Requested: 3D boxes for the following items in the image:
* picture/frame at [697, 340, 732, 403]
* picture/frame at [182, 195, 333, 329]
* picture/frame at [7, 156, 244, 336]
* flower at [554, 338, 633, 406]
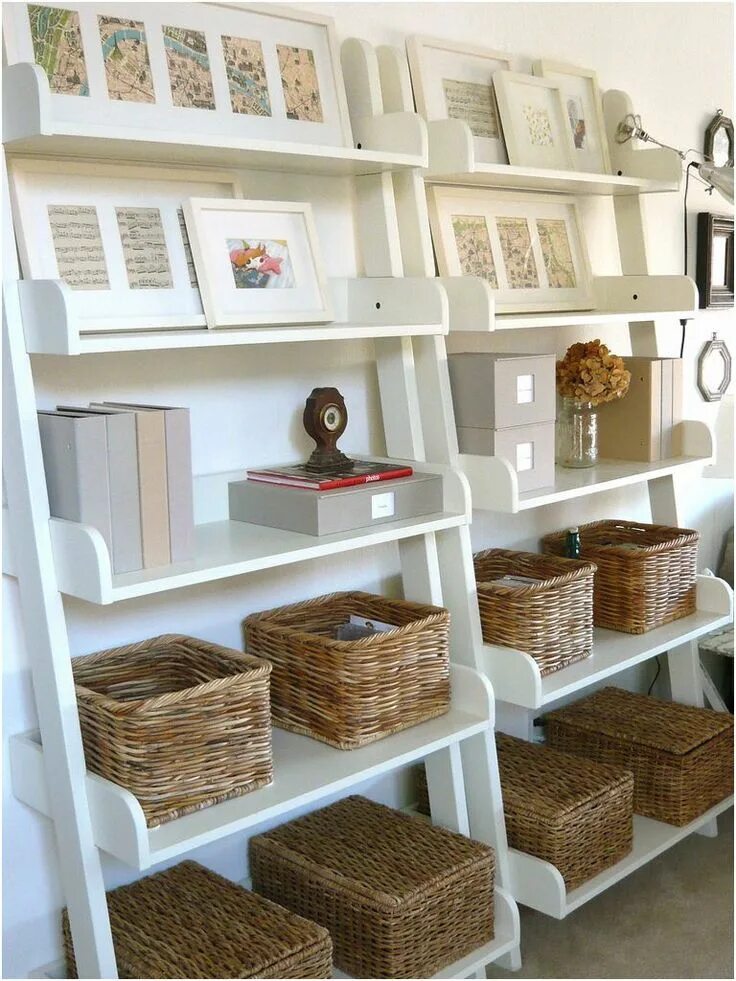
[{"bbox_3d":[1.142,-0.395,2.711,0.025,0.239,0.253,8,14,37],"label":"picture/frame"},{"bbox_3d":[-0.188,-0.365,1.326,0.022,0.182,0.275,-11,0,42],"label":"picture/frame"},{"bbox_3d":[-0.354,-0.341,1.162,0.016,0.199,0.368,-2,2,42],"label":"picture/frame"},{"bbox_3d":[0.560,-0.297,2.022,0.168,0.139,0.172,3,11,42],"label":"flower"}]
